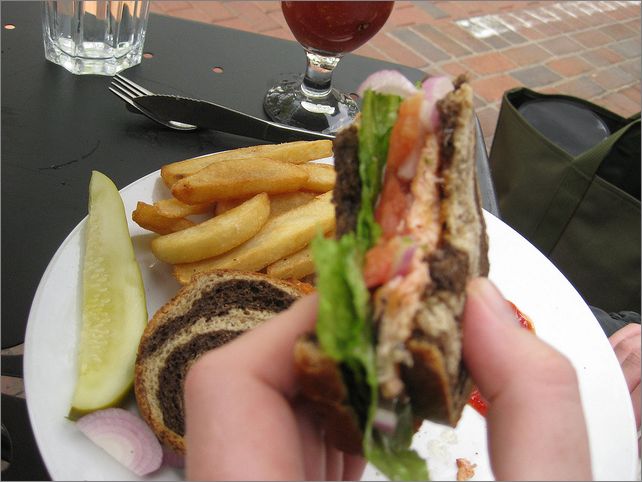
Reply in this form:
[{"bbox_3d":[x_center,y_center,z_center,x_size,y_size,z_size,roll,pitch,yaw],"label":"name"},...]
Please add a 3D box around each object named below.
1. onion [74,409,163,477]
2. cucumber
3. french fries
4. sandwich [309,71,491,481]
[{"bbox_3d":[-0.471,0.470,1.497,0.216,0.053,0.119,34,50,10],"label":"onion"},{"bbox_3d":[-0.587,0.116,1.712,0.183,0.084,0.663,7,66,-35],"label":"cucumber"},{"bbox_3d":[-0.242,-0.073,1.857,0.527,0.172,0.404,-6,57,-8],"label":"french fries"},{"bbox_3d":[0.078,0.097,1.182,0.307,0.687,0.471,8,27,7],"label":"sandwich"}]
